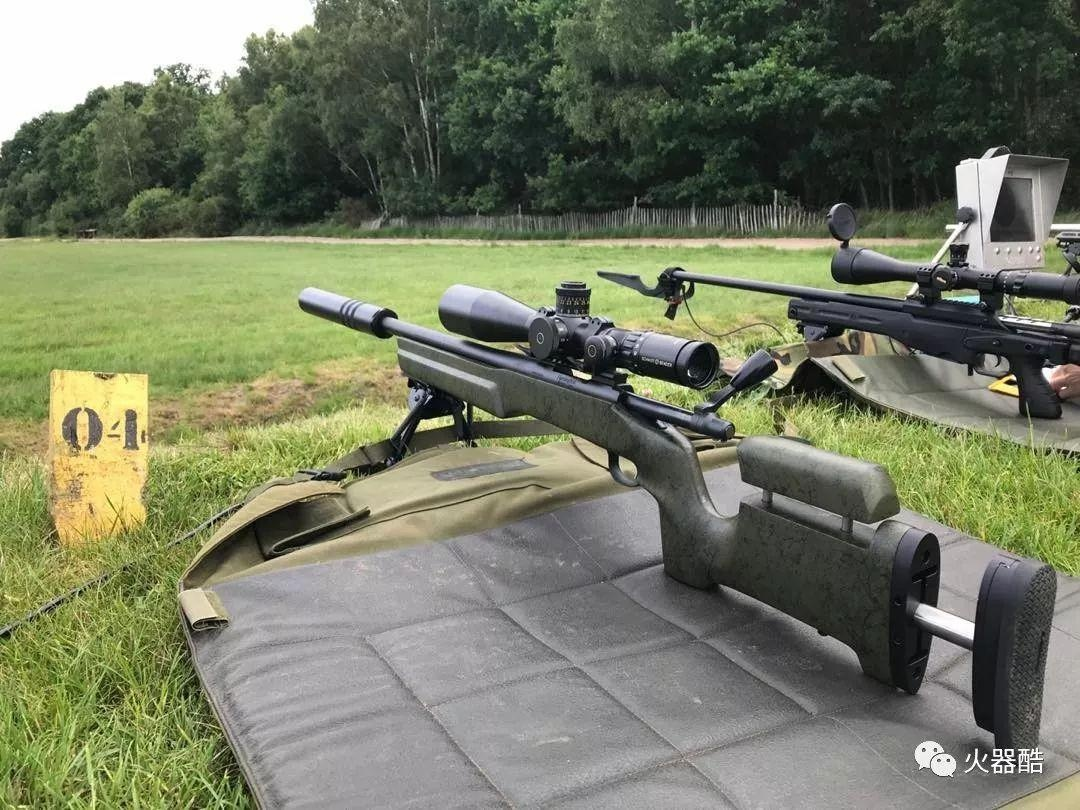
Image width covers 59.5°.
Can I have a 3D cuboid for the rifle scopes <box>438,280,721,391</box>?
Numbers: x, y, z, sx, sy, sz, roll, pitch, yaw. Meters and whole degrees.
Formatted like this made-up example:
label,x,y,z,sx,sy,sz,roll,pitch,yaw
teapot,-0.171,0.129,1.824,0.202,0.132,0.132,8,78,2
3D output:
label,x,y,z,sx,sy,sz,roll,pitch,yaw
rifle scopes,0.117,-0.349,4.269,1.437,0.430,0.297,15,11,41
